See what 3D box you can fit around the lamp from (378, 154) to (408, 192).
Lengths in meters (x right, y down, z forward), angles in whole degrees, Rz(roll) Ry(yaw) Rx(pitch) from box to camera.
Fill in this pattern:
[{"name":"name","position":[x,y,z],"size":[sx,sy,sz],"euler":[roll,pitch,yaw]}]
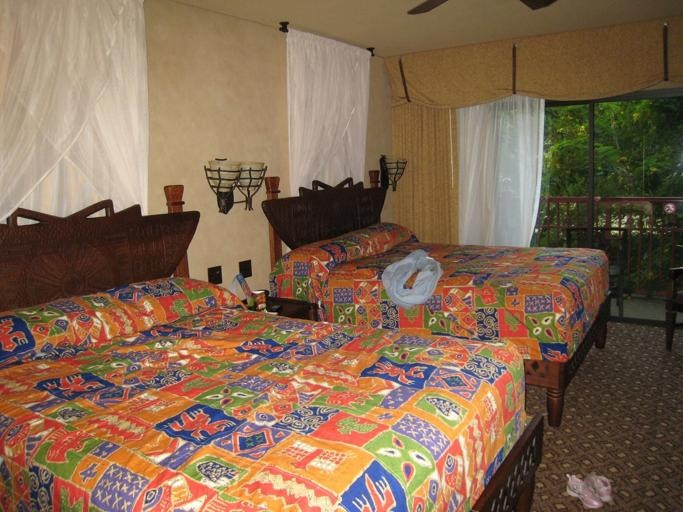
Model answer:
[{"name":"lamp","position":[0.671,-1.092,6.740],"size":[0.364,0.472,0.456],"euler":[2,12,13]}]

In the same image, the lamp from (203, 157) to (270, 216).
[{"name":"lamp","position":[-0.965,-0.670,4.634],"size":[0.398,0.586,0.682],"euler":[7,15,33]}]

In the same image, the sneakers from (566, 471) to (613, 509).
[{"name":"sneakers","position":[1.460,1.377,3.055],"size":[0.158,0.100,0.200],"euler":[-14,19,-26]}]

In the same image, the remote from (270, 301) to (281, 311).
[{"name":"remote","position":[-0.587,0.432,4.497],"size":[0.073,0.019,0.070],"euler":[8,15,37]}]
